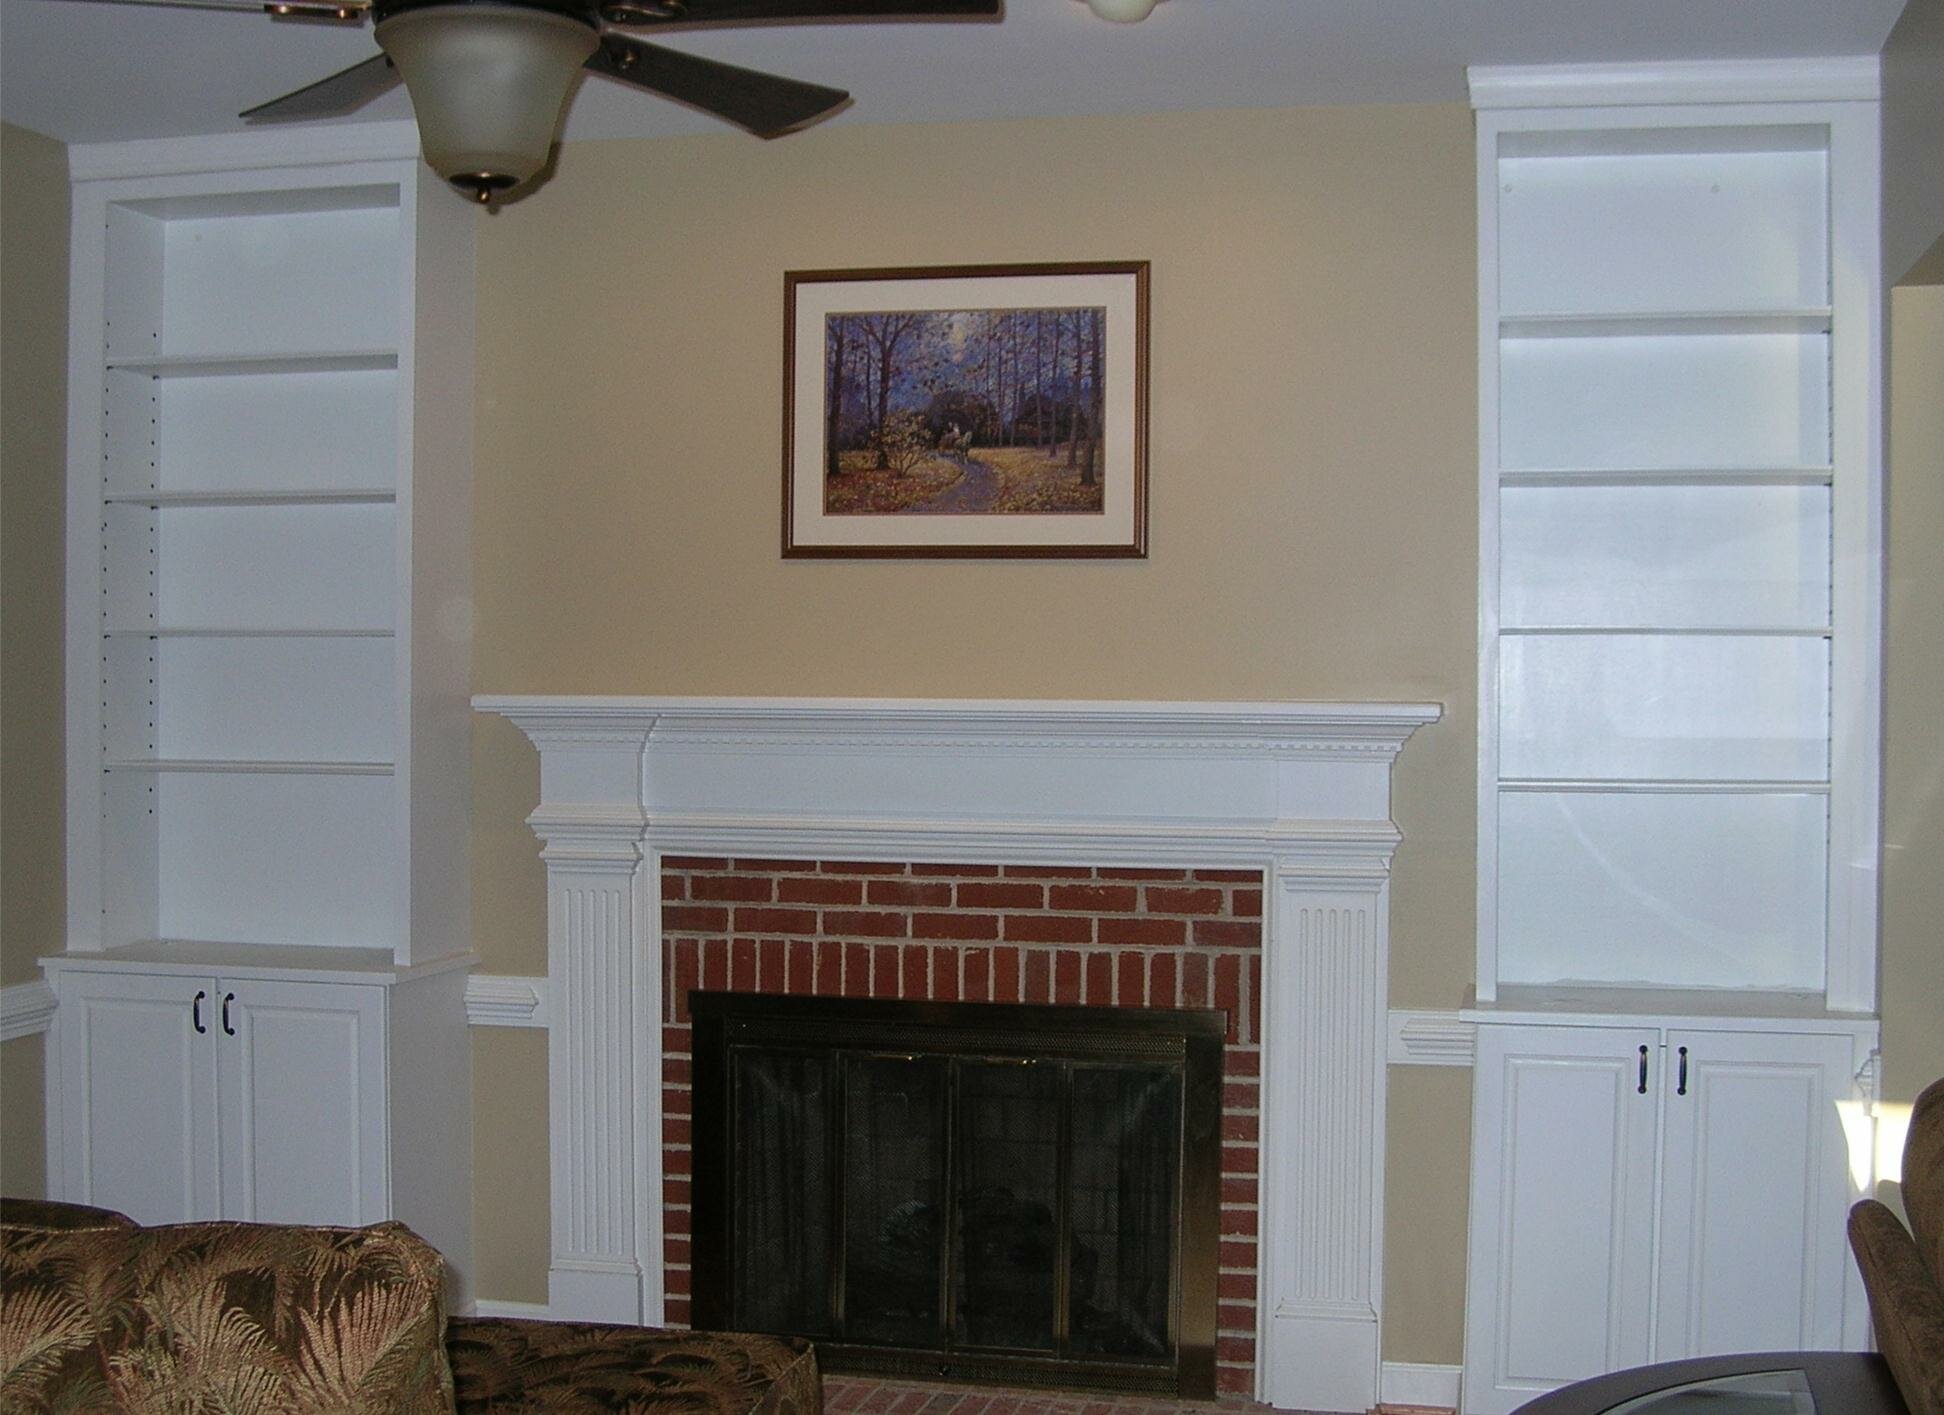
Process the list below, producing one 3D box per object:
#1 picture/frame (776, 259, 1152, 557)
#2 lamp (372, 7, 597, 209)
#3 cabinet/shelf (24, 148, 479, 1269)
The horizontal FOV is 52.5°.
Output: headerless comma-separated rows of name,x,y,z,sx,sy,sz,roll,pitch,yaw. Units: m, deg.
picture/frame,0.024,-0.734,4.831,0.681,0.562,0.030,1,1,3
lamp,-0.860,-1.089,3.530,0.327,0.265,0.292,-3,-8,31
cabinet/shelf,-1.782,-0.013,4.998,1.017,2.788,0.491,1,-7,7
